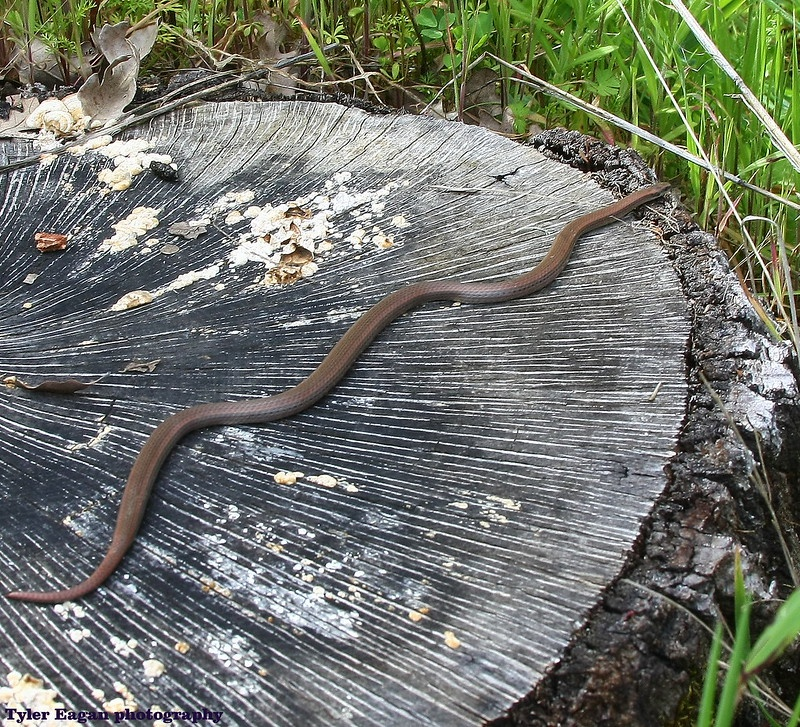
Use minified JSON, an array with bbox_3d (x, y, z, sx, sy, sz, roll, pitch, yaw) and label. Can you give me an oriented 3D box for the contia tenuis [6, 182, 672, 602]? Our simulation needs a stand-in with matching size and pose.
[{"bbox_3d":[-0.176,0.099,2.016,1.970,0.097,0.341,-28,57,-13],"label":"contia tenuis"}]
